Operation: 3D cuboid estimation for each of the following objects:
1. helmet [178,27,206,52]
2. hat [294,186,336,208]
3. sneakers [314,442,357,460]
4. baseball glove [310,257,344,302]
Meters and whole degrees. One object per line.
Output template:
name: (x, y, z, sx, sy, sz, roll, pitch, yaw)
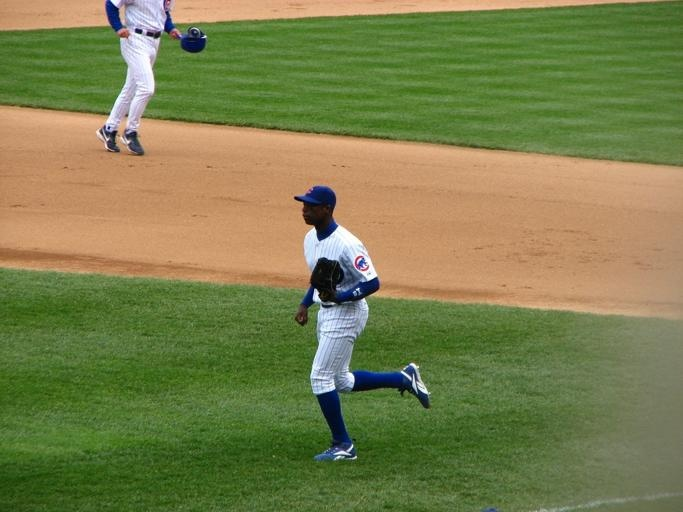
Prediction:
helmet: (-2.272, -3.267, 23.826, 0.427, 0.384, 0.364, 5, 8, 26)
hat: (-0.304, -0.688, 18.173, 0.414, 0.180, 0.258, 3, 5, -6)
sneakers: (-0.038, 2.254, 18.134, 0.561, 0.226, 0.179, 0, 4, -8)
baseball glove: (-0.175, 0.284, 17.951, 0.216, 0.470, 0.365, -15, -29, 38)
